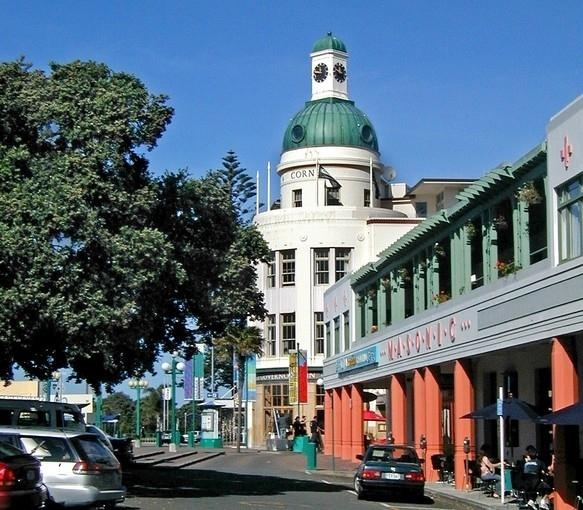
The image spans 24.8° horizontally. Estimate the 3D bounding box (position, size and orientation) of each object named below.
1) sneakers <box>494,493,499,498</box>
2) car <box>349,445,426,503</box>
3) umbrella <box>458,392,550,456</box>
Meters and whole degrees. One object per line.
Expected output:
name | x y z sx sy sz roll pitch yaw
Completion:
sneakers | 5.390 6.393 35.044 0.170 0.129 0.227 0 -3 -3
car | 2.538 5.726 34.847 1.681 1.579 1.992 1 -16 -1
umbrella | 5.532 4.427 34.622 1.789 1.379 1.707 -9 6 -33
